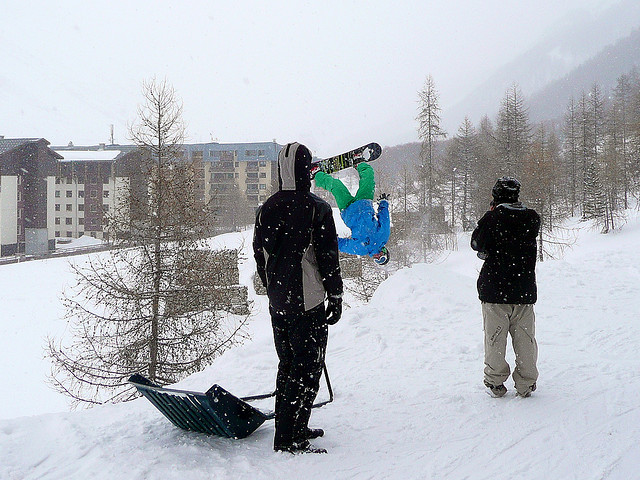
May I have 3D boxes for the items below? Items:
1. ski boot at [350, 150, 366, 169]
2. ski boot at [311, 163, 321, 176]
[{"bbox_3d":[0.940,-2.065,16.508,0.369,0.416,0.124,-3,4,19],"label":"ski boot"},{"bbox_3d":[-0.100,-1.759,16.215,0.111,0.306,0.371,1,9,24],"label":"ski boot"}]
